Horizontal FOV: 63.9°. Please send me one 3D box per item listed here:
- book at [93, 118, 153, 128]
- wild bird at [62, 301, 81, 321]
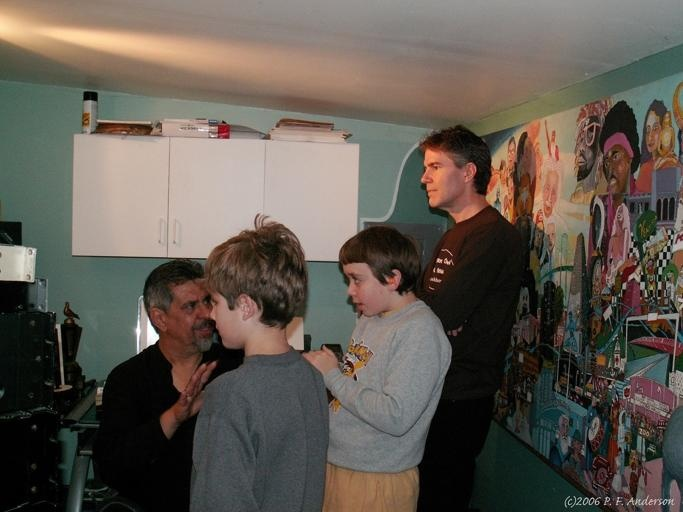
[{"bbox_3d":[-1.225,-0.753,3.138,0.166,0.036,0.152,-1,-3,-5],"label":"book"},{"bbox_3d":[-1.600,0.328,3.252,0.087,0.125,0.220,-1,3,-26],"label":"wild bird"}]
